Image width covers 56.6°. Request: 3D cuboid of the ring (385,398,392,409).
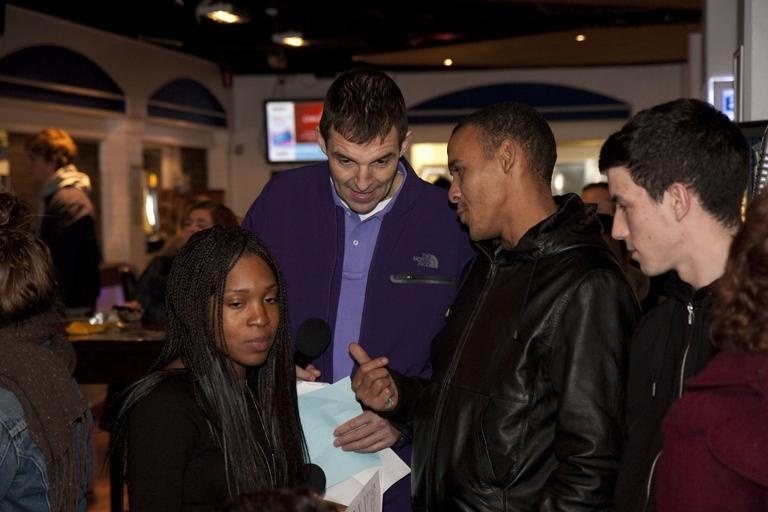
[{"bbox_3d":[0.020,0.603,2.934,0.011,0.038,0.030,8,-21,40],"label":"ring"}]
